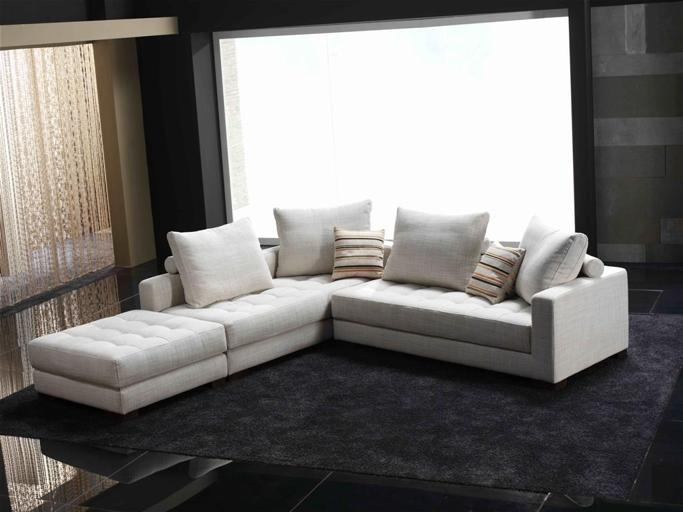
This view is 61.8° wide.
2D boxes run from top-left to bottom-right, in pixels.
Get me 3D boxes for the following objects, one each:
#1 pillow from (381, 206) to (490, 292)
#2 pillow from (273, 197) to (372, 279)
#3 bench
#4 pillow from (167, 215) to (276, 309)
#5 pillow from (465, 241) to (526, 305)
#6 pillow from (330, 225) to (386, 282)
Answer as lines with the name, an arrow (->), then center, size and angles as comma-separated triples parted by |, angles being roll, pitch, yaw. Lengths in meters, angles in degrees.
pillow -> 0.762, -0.037, 4.636 | 0.888, 0.606, 0.344 | 7, 8, 29
pillow -> -0.172, -0.140, 5.114 | 1.034, 0.618, 0.331 | -4, 2, -9
bench -> -1.542, 0.672, 3.774 | 0.807, 0.315, 0.843 | 4, 11, 32
pillow -> -0.952, 0.029, 4.699 | 0.452, 0.577, 0.909 | 20, 25, 38
pillow -> 1.130, 0.123, 4.229 | 0.174, 0.399, 0.435 | 31, -10, -41
pillow -> 0.124, -0.009, 4.971 | 0.541, 0.480, 0.182 | 0, -16, -2
